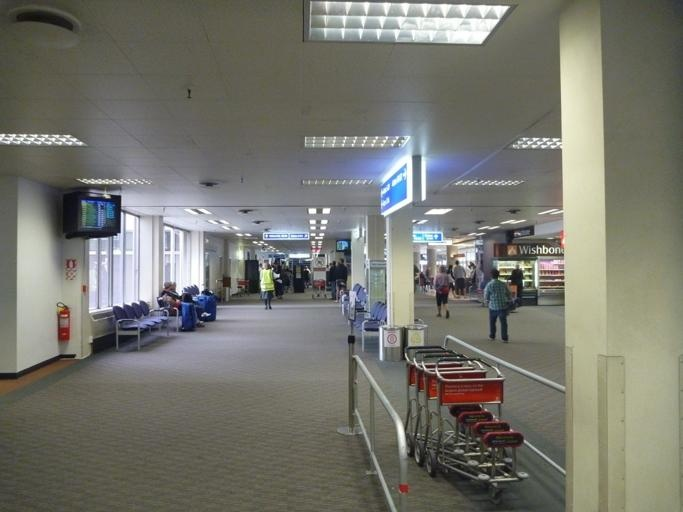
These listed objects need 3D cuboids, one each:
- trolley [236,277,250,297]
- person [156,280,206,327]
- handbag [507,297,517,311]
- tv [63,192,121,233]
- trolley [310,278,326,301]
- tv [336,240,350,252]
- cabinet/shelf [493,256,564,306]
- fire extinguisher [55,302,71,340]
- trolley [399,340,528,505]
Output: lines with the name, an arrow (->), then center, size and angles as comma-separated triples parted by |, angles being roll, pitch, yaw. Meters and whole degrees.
trolley -> -5.479, 1.776, 30.123 | 0.724, 1.031, 0.786 | 0, -4, -5
person -> -4.417, 1.306, 15.030 | 0.975, 1.244, 0.625 | -4, 11, 2
handbag -> 3.839, 1.077, 12.297 | 0.130, 0.293, 0.526 | -1, 0, 25
tv -> -4.728, -0.746, 10.343 | 0.509, 0.803, 0.902 | -1, 0, 37
trolley -> -1.516, 2.060, 33.976 | 0.974, 1.368, 0.982 | 0, -2, -1
tv -> 0.069, -0.568, 29.755 | 0.537, 0.710, 0.998 | 1, -2, -17
cabinet/shelf -> 6.969, 0.938, 19.771 | 1.848, 1.567, 0.774 | -1, -5, 7
fire extinguisher -> -5.355, 1.255, 10.481 | 0.217, 0.720, 0.189 | -1, 0, -7
trolley -> 1.264, 1.618, 5.681 | 0.824, 1.111, 1.708 | 0, -2, -8
